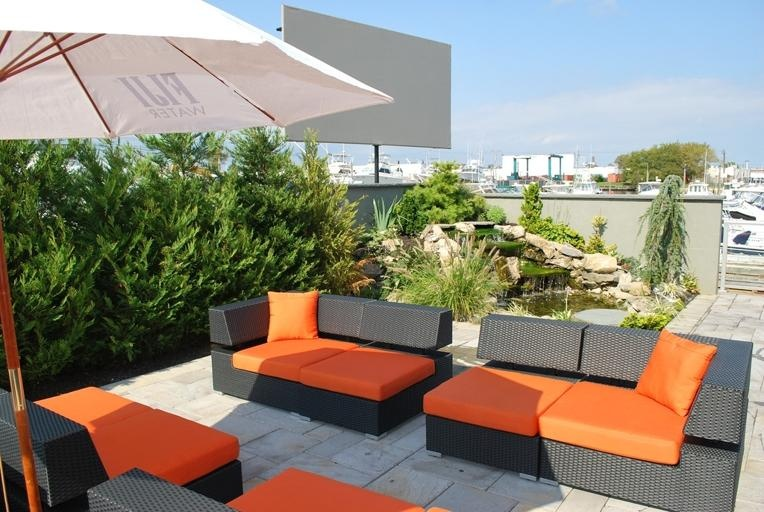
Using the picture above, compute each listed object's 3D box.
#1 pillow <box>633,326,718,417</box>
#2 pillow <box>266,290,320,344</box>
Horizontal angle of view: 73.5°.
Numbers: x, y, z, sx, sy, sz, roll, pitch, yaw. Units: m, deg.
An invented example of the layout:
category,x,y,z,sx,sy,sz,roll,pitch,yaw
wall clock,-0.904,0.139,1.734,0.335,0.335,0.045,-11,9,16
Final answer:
category,x,y,z,sx,sy,sz,roll,pitch,yaw
pillow,2.124,0.862,3.717,0.331,0.503,0.574,-4,5,-15
pillow,-0.990,0.639,5.484,0.606,0.506,0.215,1,-2,-41
